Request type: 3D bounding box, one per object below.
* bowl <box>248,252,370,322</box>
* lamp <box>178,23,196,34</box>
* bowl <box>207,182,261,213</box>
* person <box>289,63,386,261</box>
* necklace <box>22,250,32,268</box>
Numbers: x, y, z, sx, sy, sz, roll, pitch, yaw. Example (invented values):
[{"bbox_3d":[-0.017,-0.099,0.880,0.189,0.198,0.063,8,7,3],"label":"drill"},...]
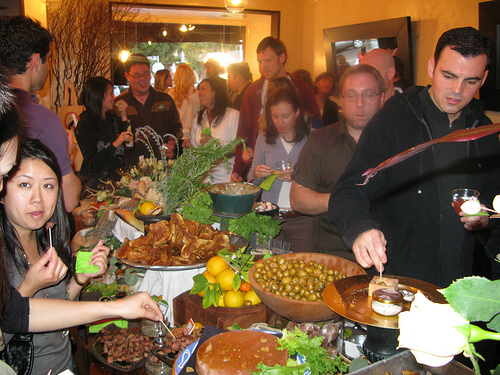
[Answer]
[{"bbox_3d":[0.183,0.413,1.582,0.358,0.115,0.352,-1,12,0],"label":"bowl"},{"bbox_3d":[-1.290,-3.297,7.711,0.333,0.181,0.052,-2,13,-23],"label":"lamp"},{"bbox_3d":[-0.104,0.067,2.328,0.322,0.159,0.312,3,12,-1],"label":"bowl"},{"bbox_3d":[0.595,-0.270,2.752,0.760,1.698,0.473,-4,15,-15],"label":"person"},{"bbox_3d":[-1.108,0.354,1.865,0.018,0.071,0.074,-9,0,-8],"label":"necklace"}]
